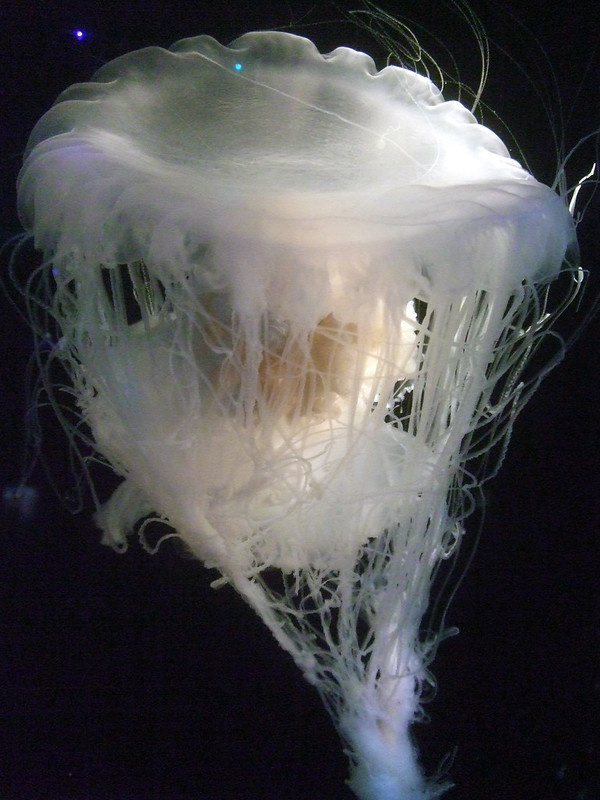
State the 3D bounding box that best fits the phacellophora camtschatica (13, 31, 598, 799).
[{"bbox_3d":[0.004,0.068,2.888,1.418,2.266,1.176,17,40,26],"label":"phacellophora camtschatica"}]
